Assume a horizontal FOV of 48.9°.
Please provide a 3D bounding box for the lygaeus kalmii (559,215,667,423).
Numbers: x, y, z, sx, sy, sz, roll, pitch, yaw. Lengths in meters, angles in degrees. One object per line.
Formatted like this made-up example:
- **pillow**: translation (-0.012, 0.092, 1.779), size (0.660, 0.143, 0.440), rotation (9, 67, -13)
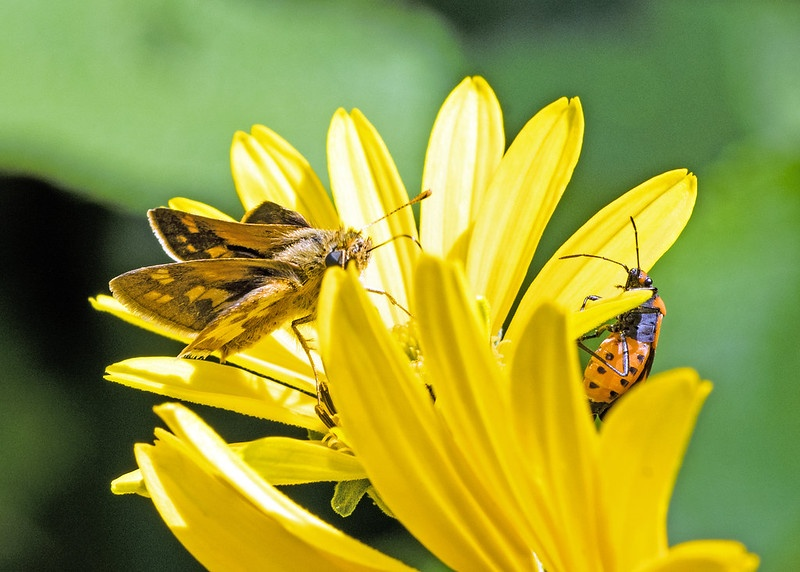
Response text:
- **lygaeus kalmii**: translation (0.356, 0.062, 1.380), size (0.258, 0.343, 0.101), rotation (4, 5, -41)
